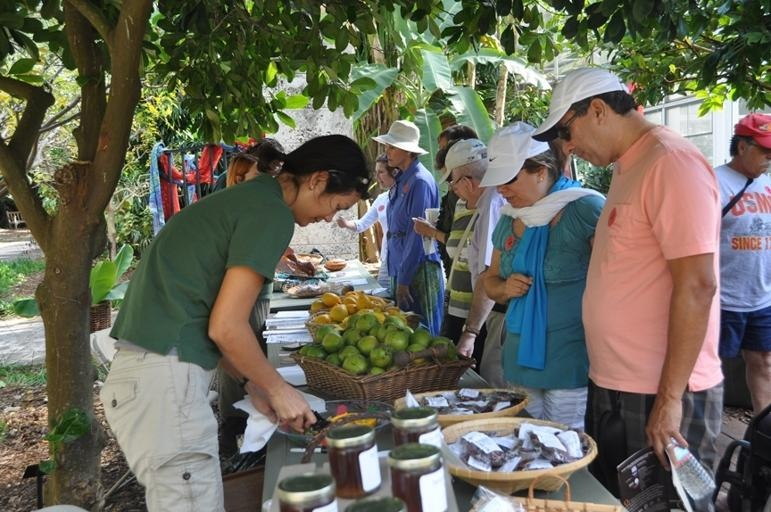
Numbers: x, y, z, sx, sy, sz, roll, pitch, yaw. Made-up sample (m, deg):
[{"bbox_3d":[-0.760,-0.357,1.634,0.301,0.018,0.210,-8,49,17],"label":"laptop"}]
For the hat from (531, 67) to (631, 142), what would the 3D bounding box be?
[{"bbox_3d":[1.067,-0.887,3.190,0.584,0.290,0.410,-16,2,21],"label":"hat"}]

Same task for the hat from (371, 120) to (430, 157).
[{"bbox_3d":[0.216,-1.215,6.044,0.496,0.252,0.465,26,-2,-26],"label":"hat"}]

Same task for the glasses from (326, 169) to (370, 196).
[{"bbox_3d":[-0.184,-0.365,3.007,0.160,0.082,0.123,20,10,27],"label":"glasses"}]

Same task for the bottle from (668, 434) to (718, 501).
[{"bbox_3d":[1.280,0.931,2.589,0.182,0.280,0.095,-38,4,-35],"label":"bottle"}]

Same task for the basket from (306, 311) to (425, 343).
[{"bbox_3d":[-0.189,0.402,3.649,0.362,0.102,0.354,0,-1,-16],"label":"basket"}]

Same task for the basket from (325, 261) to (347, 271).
[{"bbox_3d":[-0.563,0.112,6.572,0.143,0.086,0.143,-3,0,27],"label":"basket"}]

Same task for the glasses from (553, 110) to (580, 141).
[{"bbox_3d":[0.951,-0.680,3.098,0.037,0.122,0.124,7,-6,5],"label":"glasses"}]

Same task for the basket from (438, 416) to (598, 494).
[{"bbox_3d":[0.540,0.826,2.581,0.561,0.321,0.497,-4,1,-12],"label":"basket"}]

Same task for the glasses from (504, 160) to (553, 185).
[{"bbox_3d":[0.896,-0.497,3.596,0.207,0.101,0.156,-2,0,-16],"label":"glasses"}]

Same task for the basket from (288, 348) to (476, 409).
[{"bbox_3d":[-0.043,0.579,3.274,0.636,0.340,0.544,-7,8,-30],"label":"basket"}]

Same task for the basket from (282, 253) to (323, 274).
[{"bbox_3d":[-0.801,0.083,5.893,0.254,0.087,0.256,6,8,33],"label":"basket"}]

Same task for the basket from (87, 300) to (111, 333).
[{"bbox_3d":[-3.506,0.844,7.306,0.311,0.245,0.250,4,43,-28],"label":"basket"}]

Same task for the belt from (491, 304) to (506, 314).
[{"bbox_3d":[0.837,0.386,4.327,0.078,0.076,0.140,12,2,-3],"label":"belt"}]
